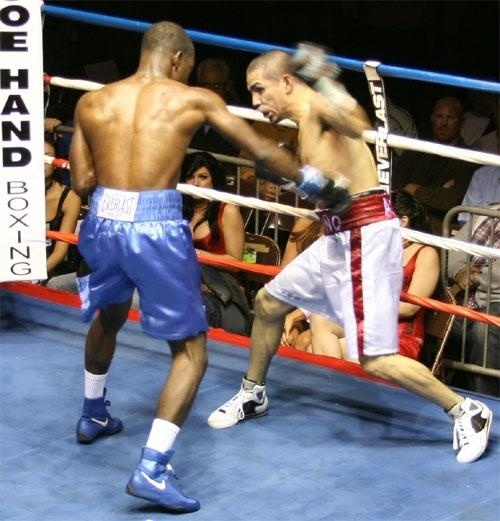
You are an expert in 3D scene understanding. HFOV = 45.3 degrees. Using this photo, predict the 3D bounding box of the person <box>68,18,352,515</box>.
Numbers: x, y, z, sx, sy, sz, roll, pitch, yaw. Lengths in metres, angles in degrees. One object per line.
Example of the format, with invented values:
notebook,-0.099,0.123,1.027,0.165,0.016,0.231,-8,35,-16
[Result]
person,-0.182,-0.040,1.773,0.630,1.322,0.749,-7,16,-28

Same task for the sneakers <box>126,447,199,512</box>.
sneakers,-0.240,0.569,1.583,0.182,0.185,0.163,-3,14,-18

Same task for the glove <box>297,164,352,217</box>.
glove,0.177,-0.193,1.618,0.117,0.061,0.154,40,9,34

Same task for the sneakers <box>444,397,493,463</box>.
sneakers,0.676,0.529,1.869,0.121,0.076,0.226,24,42,-2

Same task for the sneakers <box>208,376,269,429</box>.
sneakers,-0.013,0.510,2.164,0.286,0.127,0.096,-7,17,-36
